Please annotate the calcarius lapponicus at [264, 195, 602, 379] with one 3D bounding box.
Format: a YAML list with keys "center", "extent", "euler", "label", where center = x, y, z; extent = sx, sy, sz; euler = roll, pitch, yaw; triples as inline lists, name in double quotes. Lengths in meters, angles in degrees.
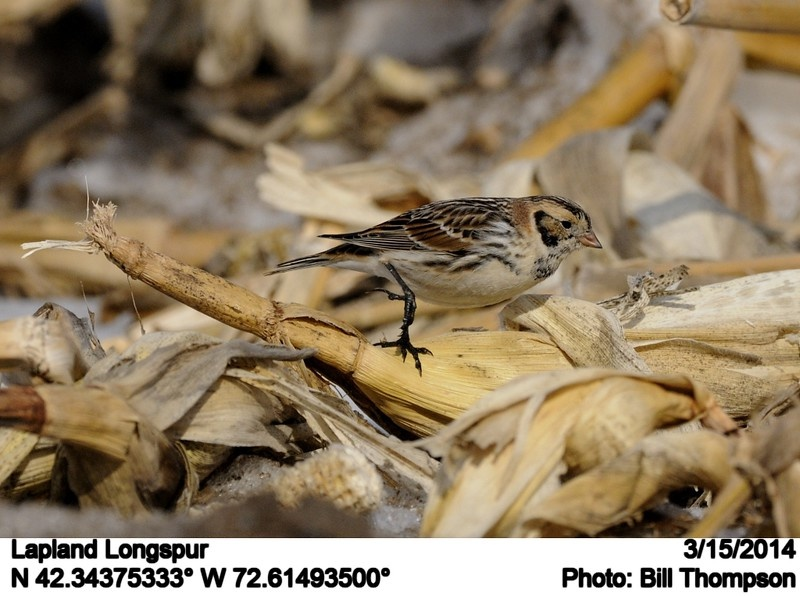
- center: [0.075, -0.115, 2.059]
  extent: [0.757, 0.350, 0.244]
  euler: [14, 17, 20]
  label: "calcarius lapponicus"
